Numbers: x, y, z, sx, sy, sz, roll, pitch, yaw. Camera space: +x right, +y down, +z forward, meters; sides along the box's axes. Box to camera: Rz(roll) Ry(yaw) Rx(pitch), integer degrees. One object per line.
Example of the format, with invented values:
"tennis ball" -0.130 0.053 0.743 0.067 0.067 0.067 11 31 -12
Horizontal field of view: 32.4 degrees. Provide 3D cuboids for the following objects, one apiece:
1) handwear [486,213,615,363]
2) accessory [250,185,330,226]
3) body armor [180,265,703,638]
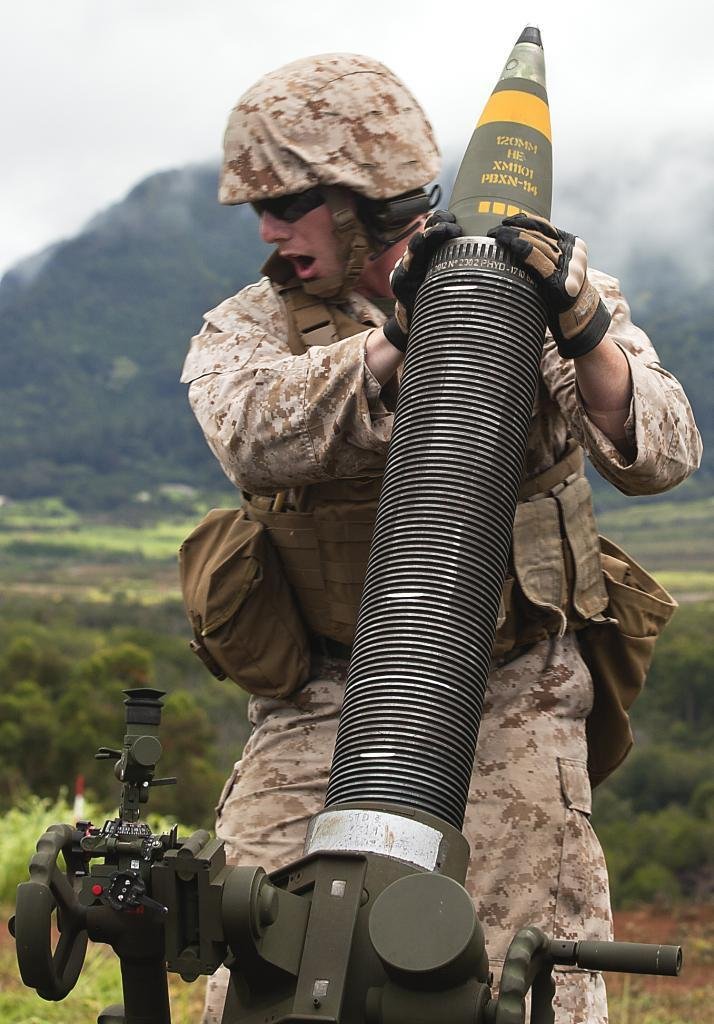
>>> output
"handwear" 0.391 -0.434 2.349 0.136 0.168 0.298 -25 -47 36
"accessory" -0.158 -0.744 2.986 0.136 0.055 0.089 -18 12 4
"body armor" 0.077 -0.213 2.689 1.144 0.860 0.435 3 -13 5
